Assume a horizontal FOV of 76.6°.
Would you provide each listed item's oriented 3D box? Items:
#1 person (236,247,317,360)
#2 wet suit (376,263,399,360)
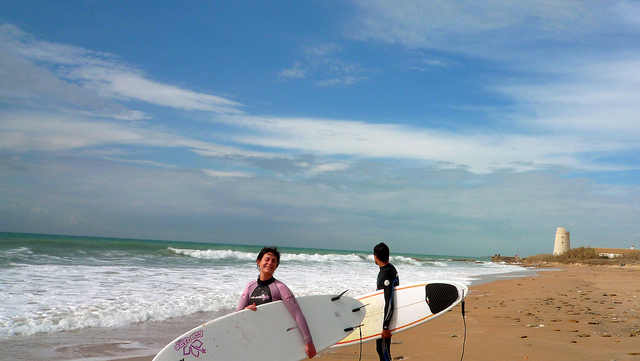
[{"bbox_3d":[-0.928,2.547,8.620,1.576,2.223,0.556,4,-12,-11],"label":"person"},{"bbox_3d":[1.572,3.014,9.386,0.496,2.191,0.522,1,-12,9],"label":"wet suit"}]
